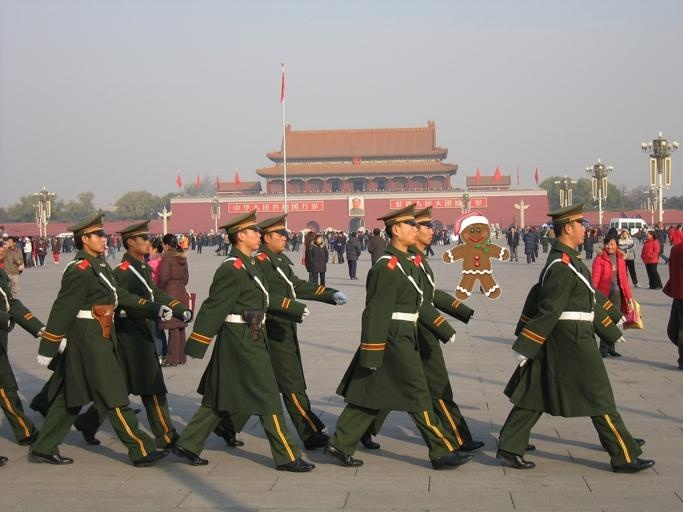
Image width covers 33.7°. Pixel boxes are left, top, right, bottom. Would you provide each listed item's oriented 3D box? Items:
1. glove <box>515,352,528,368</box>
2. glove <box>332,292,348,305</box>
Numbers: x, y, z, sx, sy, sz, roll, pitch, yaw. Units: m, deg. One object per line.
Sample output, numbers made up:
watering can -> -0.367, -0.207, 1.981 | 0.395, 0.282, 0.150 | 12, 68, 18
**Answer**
glove -> 1.283, 0.744, 8.008 | 0.088, 0.105, 0.108 | 8, 9, 15
glove -> -0.004, 0.316, 8.415 | 0.080, 0.049, 0.108 | 15, 2, -29
